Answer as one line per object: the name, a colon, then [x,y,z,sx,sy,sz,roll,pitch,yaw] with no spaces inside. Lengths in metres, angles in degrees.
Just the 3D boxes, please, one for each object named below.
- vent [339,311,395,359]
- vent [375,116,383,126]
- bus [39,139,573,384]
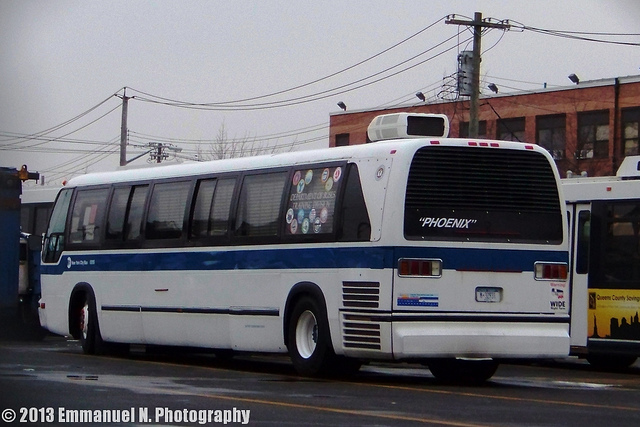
vent: [0.714,1.853,11.800,0.978,0.692,0.204,-5,-6,44]
vent: [1.032,-1.634,13.545,0.071,0.154,0.186,2,-5,-35]
bus: [-1.287,0.917,15.419,11.859,4.070,2.975,-5,-6,40]
